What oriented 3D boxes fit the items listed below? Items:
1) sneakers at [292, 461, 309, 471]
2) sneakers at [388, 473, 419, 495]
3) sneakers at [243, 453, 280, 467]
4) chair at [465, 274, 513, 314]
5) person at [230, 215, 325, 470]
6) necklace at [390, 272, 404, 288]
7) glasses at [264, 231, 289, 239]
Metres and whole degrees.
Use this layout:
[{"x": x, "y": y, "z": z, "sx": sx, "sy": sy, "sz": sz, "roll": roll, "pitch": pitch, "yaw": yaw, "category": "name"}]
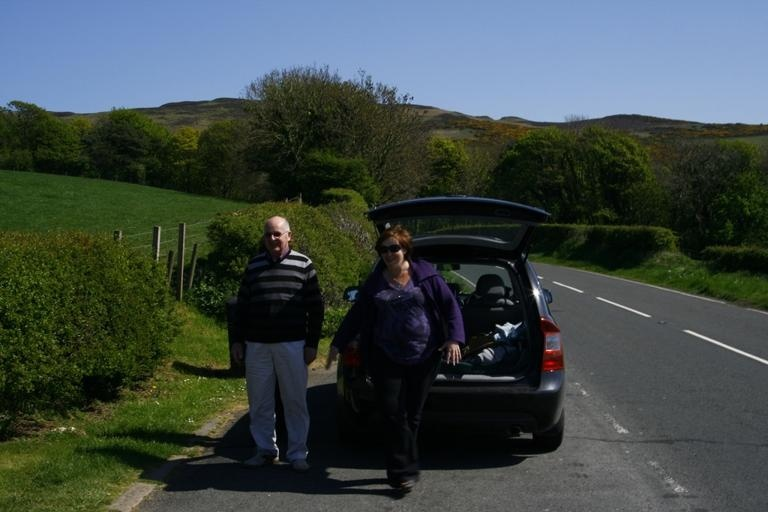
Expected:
[{"x": -0.983, "y": 2.410, "z": 7.929, "sx": 0.218, "sy": 0.123, "sz": 0.160, "roll": 0, "pitch": 6, "yaw": -8, "category": "sneakers"}, {"x": 0.197, "y": 2.457, "z": 7.462, "sx": 0.330, "sy": 0.230, "sz": 0.164, "roll": -1, "pitch": 6, "yaw": -10, "category": "sneakers"}, {"x": -1.472, "y": 2.380, "z": 8.070, "sx": 0.338, "sy": 0.153, "sz": 0.161, "roll": 5, "pitch": -6, "yaw": -28, "category": "sneakers"}, {"x": 1.454, "y": 0.520, "z": 9.719, "sx": 0.691, "sy": 0.378, "sz": 0.989, "roll": -1, "pitch": 6, "yaw": 16, "category": "chair"}, {"x": -1.252, "y": 1.202, "z": 8.007, "sx": 1.039, "sy": 2.511, "sz": 0.656, "roll": -1, "pitch": 6, "yaw": -12, "category": "person"}, {"x": 0.139, "y": 0.268, "z": 7.449, "sx": 0.155, "sy": 0.103, "sz": 0.085, "roll": 1, "pitch": 48, "yaw": 55, "category": "necklace"}, {"x": -1.263, "y": -0.256, "z": 8.047, "sx": 0.297, "sy": 0.096, "sz": 0.157, "roll": -1, "pitch": 6, "yaw": -17, "category": "glasses"}]
